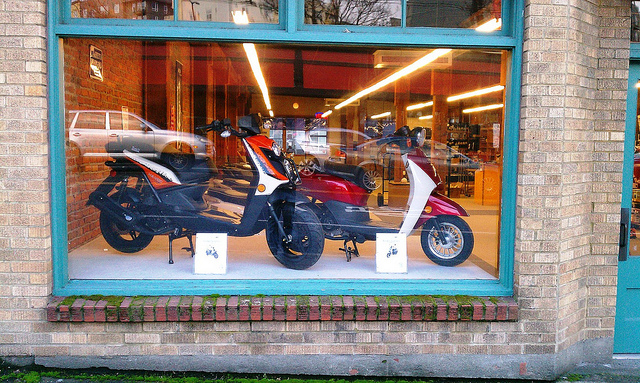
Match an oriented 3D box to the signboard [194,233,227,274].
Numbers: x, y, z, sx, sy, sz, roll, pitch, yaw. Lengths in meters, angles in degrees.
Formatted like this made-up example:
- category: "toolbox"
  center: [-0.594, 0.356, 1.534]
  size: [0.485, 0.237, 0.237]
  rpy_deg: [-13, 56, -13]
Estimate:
- category: "signboard"
  center: [-1.071, 0.652, 8.077]
  size: [0.463, 0.547, 0.057]
  rpy_deg: [0, -30, -2]
